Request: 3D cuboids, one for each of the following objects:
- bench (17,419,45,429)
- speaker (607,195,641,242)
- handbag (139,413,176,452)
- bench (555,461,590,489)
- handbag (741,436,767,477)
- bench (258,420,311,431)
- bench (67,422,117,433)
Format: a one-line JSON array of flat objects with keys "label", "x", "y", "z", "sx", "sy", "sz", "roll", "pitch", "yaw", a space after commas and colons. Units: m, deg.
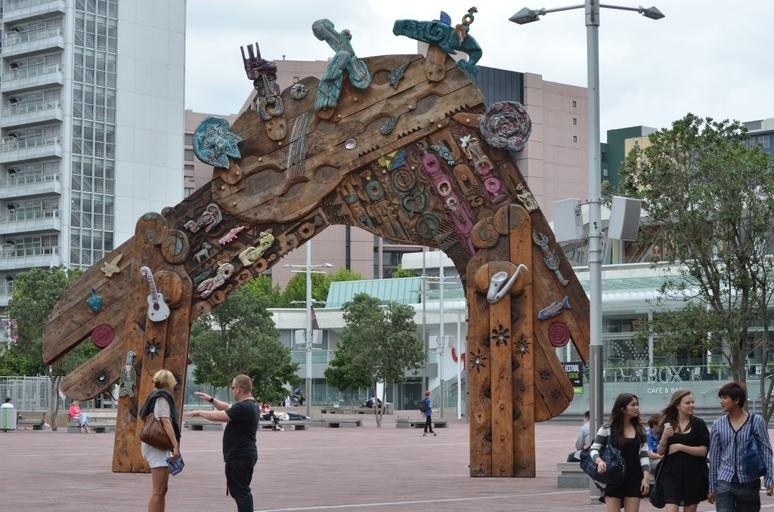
[{"label": "bench", "x": -21.231, "y": 10.262, "z": 91.518, "sx": 1.522, "sy": 0.661, "sz": 2.256, "roll": 2, "pitch": -11, "yaw": -14}, {"label": "speaker", "x": 8.857, "y": -1.467, "z": 57.987, "sx": 1.157, "sy": 1.742, "sz": 1.172, "roll": -2, "pitch": -11, "yaw": 9}, {"label": "handbag", "x": -8.030, "y": 6.310, "z": 53.934, "sx": 1.129, "sy": 1.268, "sz": 0.585, "roll": 9, "pitch": -19, "yaw": -31}, {"label": "bench", "x": 7.192, "y": 8.719, "z": 60.172, "sx": 1.070, "sy": 0.654, "sz": 1.076, "roll": -2, "pitch": -3, "yaw": 19}, {"label": "handbag", "x": 12.397, "y": 6.988, "z": 52.394, "sx": 0.799, "sy": 1.469, "sz": 0.230, "roll": 0, "pitch": -10, "yaw": 0}, {"label": "bench", "x": -5.842, "y": 10.043, "z": 89.191, "sx": 3.525, "sy": 0.665, "sz": 1.406, "roll": 9, "pitch": -14, "yaw": -39}, {"label": "bench", "x": -16.802, "y": 9.977, "z": 87.352, "sx": 2.625, "sy": 0.681, "sz": 2.186, "roll": 3, "pitch": -11, "yaw": -14}]
